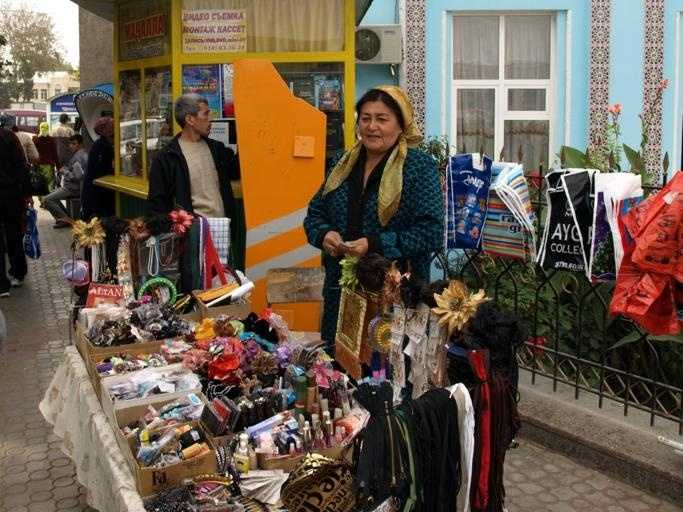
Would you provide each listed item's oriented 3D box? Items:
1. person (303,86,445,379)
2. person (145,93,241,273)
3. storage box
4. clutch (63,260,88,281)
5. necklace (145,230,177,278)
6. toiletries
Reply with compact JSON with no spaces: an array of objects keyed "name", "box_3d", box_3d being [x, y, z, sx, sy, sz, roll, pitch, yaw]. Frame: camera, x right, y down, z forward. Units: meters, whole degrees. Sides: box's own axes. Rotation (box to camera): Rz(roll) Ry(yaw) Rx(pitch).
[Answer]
[{"name":"person","box_3d":[0.166,-0.163,3.367,0.837,1.589,0.964,1,12,11]},{"name":"person","box_3d":[-1.353,-0.574,5.268,0.486,1.613,0.530,-3,6,-36]},{"name":"storage box","box_3d":[-0.608,0.683,2.759,1.071,0.566,0.784,-4,18,-28]},{"name":"clutch","box_3d":[-1.869,0.101,4.104,0.159,0.142,0.061,6,1,27]},{"name":"necklace","box_3d":[-1.223,-0.005,3.966,0.207,0.261,0.090,-6,12,-18]},{"name":"toiletries","box_3d":[-0.239,0.689,2.665,0.458,0.250,0.407,-8,20,-29]}]
